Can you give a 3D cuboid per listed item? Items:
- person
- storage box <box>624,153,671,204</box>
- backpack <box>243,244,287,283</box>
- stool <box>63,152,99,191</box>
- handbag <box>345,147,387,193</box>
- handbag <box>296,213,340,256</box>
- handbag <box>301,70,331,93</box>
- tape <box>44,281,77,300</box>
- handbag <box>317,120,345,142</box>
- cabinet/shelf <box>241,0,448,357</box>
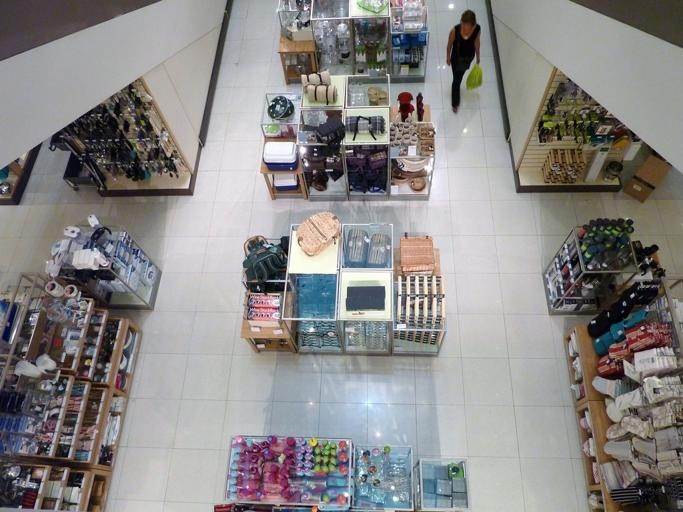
[{"bbox_3d":[2.448,-3.928,9.886,0.563,1.919,0.692,-23,60,-10],"label":"person"},{"bbox_3d":[5.675,-1.453,9.187,0.537,0.696,0.489,-40,65,-19],"label":"storage box"},{"bbox_3d":[-1.252,0.142,8.173,0.727,0.235,0.749,-14,62,-5],"label":"backpack"},{"bbox_3d":[-5.416,-1.680,10.300,0.669,0.430,0.750,-4,84,-13],"label":"stool"},{"bbox_3d":[0.502,-1.598,9.150,0.704,1.315,0.714,-1,77,4],"label":"handbag"},{"bbox_3d":[-0.362,-0.364,7.749,0.675,0.226,0.564,-41,82,-6],"label":"handbag"},{"bbox_3d":[-0.463,-3.184,9.101,0.412,0.210,0.366,-1,73,0],"label":"handbag"},{"bbox_3d":[-4.506,0.567,8.018,0.444,0.331,0.250,13,81,-22],"label":"tape"},{"bbox_3d":[-0.177,-2.154,8.583,0.461,0.332,0.375,-15,78,-5],"label":"handbag"},{"bbox_3d":[0.438,-0.953,9.446,3.334,1.678,5.282,-1,84,5],"label":"cabinet/shelf"}]
